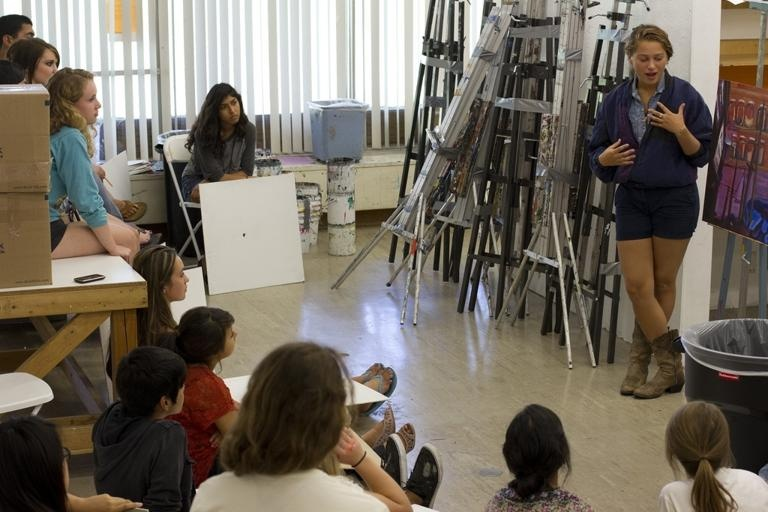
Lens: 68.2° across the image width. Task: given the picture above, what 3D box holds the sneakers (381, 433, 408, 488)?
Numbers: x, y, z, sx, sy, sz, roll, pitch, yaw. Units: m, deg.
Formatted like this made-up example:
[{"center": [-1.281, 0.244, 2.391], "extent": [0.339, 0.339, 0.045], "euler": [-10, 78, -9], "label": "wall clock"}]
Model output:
[{"center": [0.063, 0.962, 2.715], "extent": [0.098, 0.284, 0.085], "euler": [2, -11, -45], "label": "sneakers"}]

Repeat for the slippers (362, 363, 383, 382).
[{"center": [-0.077, 0.811, 3.888], "extent": [0.060, 0.083, 0.189], "euler": [12, 33, 22], "label": "slippers"}]

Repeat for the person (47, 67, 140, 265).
[{"center": [-1.849, -0.579, 3.599], "extent": [0.494, 1.219, 0.750], "euler": [-6, 13, -24], "label": "person"}]

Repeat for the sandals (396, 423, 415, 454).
[{"center": [0.121, 0.976, 3.124], "extent": [0.081, 0.078, 0.224], "euler": [20, 45, -18], "label": "sandals"}]

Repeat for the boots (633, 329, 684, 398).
[{"center": [1.895, 0.764, 3.962], "extent": [0.358, 0.405, 0.170], "euler": [-8, 0, -2], "label": "boots"}]

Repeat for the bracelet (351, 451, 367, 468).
[{"center": [-0.089, 0.783, 2.176], "extent": [0.060, 0.016, 0.061], "euler": [-53, 13, -21], "label": "bracelet"}]

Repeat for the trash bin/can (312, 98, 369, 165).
[{"center": [-0.601, -1.596, 7.606], "extent": [0.862, 1.044, 0.837], "euler": [-6, 9, -39], "label": "trash bin/can"}]

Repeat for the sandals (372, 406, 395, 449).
[{"center": [0.009, 0.927, 3.062], "extent": [0.087, 0.226, 0.068], "euler": [27, -33, -23], "label": "sandals"}]

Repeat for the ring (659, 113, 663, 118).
[{"center": [1.724, -0.878, 3.542], "extent": [0.023, 0.011, 0.033], "euler": [17, 48, 31], "label": "ring"}]

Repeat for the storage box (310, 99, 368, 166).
[{"center": [-0.522, -1.639, 7.710], "extent": [0.810, 1.061, 0.894], "euler": [2, 13, 4], "label": "storage box"}]

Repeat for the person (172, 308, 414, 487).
[{"center": [-0.539, 0.602, 3.255], "extent": [1.347, 1.026, 0.606], "euler": [-3, 7, -37], "label": "person"}]

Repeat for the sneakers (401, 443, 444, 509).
[{"center": [0.188, 1.030, 2.663], "extent": [0.109, 0.406, 0.144], "euler": [15, 17, 31], "label": "sneakers"}]

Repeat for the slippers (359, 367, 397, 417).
[{"center": [-0.043, 0.893, 3.827], "extent": [0.081, 0.382, 0.153], "euler": [3, 20, -15], "label": "slippers"}]

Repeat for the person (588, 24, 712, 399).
[{"center": [1.727, -0.260, 3.795], "extent": [0.719, 2.428, 0.329], "euler": [6, 13, 29], "label": "person"}]
